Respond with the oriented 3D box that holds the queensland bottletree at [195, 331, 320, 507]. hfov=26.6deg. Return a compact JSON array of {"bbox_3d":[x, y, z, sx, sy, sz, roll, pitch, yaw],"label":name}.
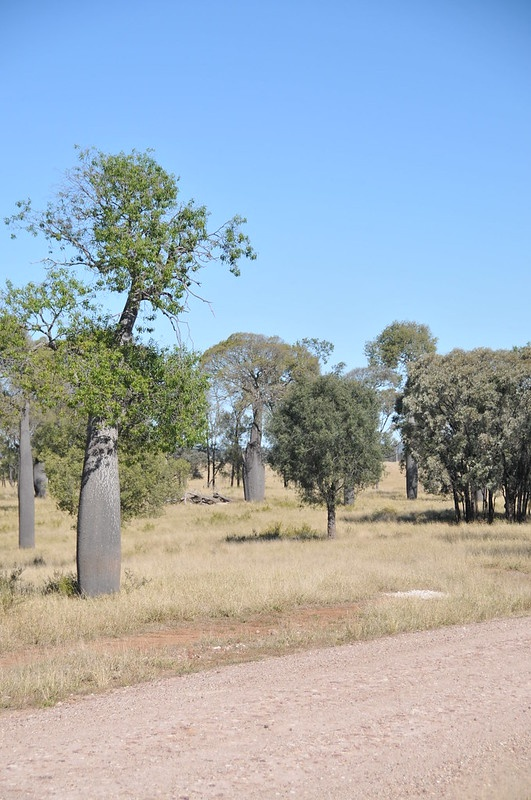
[{"bbox_3d":[-0.438,-0.647,48.951,6.287,9.518,6.544,-2,-4,38],"label":"queensland bottletree"}]
